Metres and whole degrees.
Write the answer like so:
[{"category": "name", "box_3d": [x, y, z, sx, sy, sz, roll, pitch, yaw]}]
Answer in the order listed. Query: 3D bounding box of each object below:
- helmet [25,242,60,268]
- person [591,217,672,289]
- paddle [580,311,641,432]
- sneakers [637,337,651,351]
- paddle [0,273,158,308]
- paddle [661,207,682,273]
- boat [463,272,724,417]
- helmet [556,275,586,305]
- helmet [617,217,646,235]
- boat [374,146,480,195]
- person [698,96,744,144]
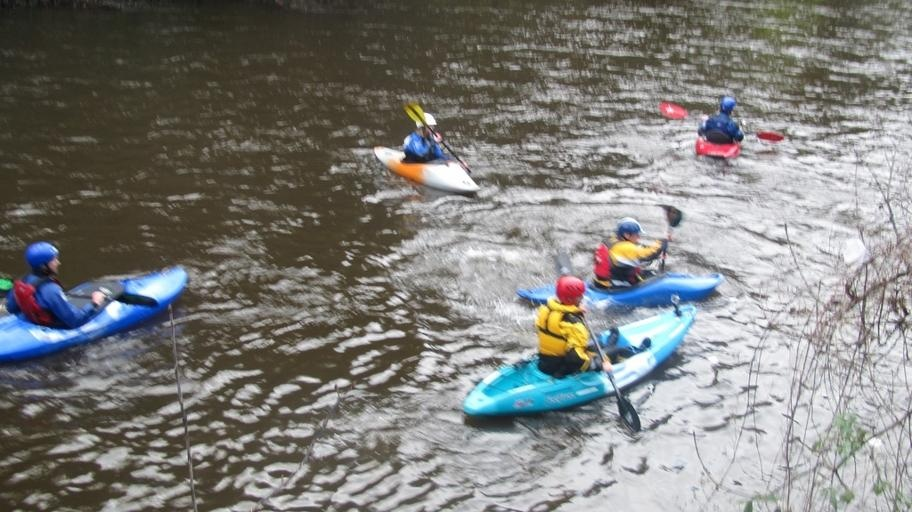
[{"category": "helmet", "box_3d": [-8.052, -0.063, 17.966, 0.648, 0.452, 0.433, -1, 20, -25]}, {"category": "person", "box_3d": [3.720, 0.000, 19.622, 1.062, 1.407, 0.605, -20, 56, 5]}, {"category": "paddle", "box_3d": [2.964, 2.314, 17.795, 0.140, 0.334, 2.696, 21, 35, -59]}, {"category": "sneakers", "box_3d": [3.726, 1.736, 18.272, 0.273, 0.216, 0.199, -17, 47, -42]}, {"category": "paddle", "box_3d": [-7.535, 0.708, 18.382, 1.811, 0.263, 0.485, 7, 28, -15]}, {"category": "paddle", "box_3d": [4.467, -0.403, 19.594, 0.417, 1.301, 0.190, 24, -12, -25]}, {"category": "boat", "box_3d": [2.581, 2.084, 17.960, 6.315, 1.157, 1.683, -21, 54, -8]}, {"category": "helmet", "box_3d": [2.117, 0.634, 17.549, 0.621, 0.508, 0.451, -3, 16, -20]}, {"category": "helmet", "box_3d": [3.637, -0.605, 19.155, 0.558, 0.257, 0.351, 2, 18, -10]}, {"category": "boat", "box_3d": [-0.836, -1.952, 22.591, 2.892, 0.564, 0.911, 23, 42, 20]}, {"category": "person", "box_3d": [6.864, -3.459, 23.764, 0.850, 1.049, 0.921, -6, 32, -14]}]
